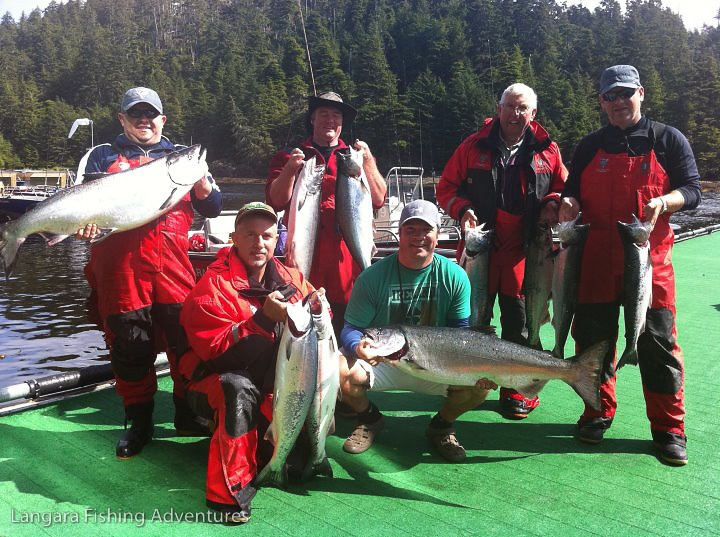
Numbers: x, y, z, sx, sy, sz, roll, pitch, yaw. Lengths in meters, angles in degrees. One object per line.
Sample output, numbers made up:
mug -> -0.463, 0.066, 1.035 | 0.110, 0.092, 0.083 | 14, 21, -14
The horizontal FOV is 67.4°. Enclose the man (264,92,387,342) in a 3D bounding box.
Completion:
man -> -0.296, -0.389, 4.458 | 0.890, 2.013, 0.665 | -3, -3, 0

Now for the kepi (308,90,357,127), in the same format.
kepi -> -0.246, -1.331, 4.387 | 0.333, 0.118, 0.287 | 18, -2, 3

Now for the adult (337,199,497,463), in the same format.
adult -> 0.343, 0.412, 3.670 | 1.378, 1.555, 1.051 | 1, 3, -15

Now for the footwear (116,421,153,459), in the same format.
footwear -> -1.576, 1.164, 3.746 | 0.147, 0.155, 0.309 | 1, 12, 2

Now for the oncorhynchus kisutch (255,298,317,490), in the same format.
oncorhynchus kisutch -> -0.415, 0.707, 3.044 | 0.327, 1.064, 0.171 | 2, 13, 9

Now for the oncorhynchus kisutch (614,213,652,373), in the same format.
oncorhynchus kisutch -> 1.794, 0.149, 3.542 | 0.236, 0.953, 0.341 | 4, 13, 19

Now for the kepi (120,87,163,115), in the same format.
kepi -> -1.603, -1.218, 3.938 | 0.234, 0.141, 0.288 | 0, 2, -20

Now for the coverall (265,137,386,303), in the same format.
coverall -> -0.262, -0.364, 4.504 | 0.788, 1.313, 0.341 | -4, 2, 29

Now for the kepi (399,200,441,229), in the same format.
kepi -> 0.408, -0.371, 3.682 | 0.273, 0.188, 0.321 | 1, 12, 4

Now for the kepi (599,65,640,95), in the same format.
kepi -> 1.859, -1.339, 3.822 | 0.218, 0.124, 0.297 | 1, 7, 37

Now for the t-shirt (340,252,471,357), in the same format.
t-shirt -> 0.353, 0.155, 4.029 | 1.294, 0.831, 0.647 | 0, 5, -3

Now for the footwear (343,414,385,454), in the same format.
footwear -> 0.019, 1.169, 3.827 | 0.132, 0.092, 0.358 | -1, 3, 27

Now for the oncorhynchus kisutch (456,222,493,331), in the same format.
oncorhynchus kisutch -> 0.896, 0.051, 4.314 | 0.253, 0.820, 0.281 | -5, 11, -22

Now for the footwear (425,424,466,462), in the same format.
footwear -> 0.605, 1.181, 3.750 | 0.253, 0.168, 0.297 | 1, 12, 2
